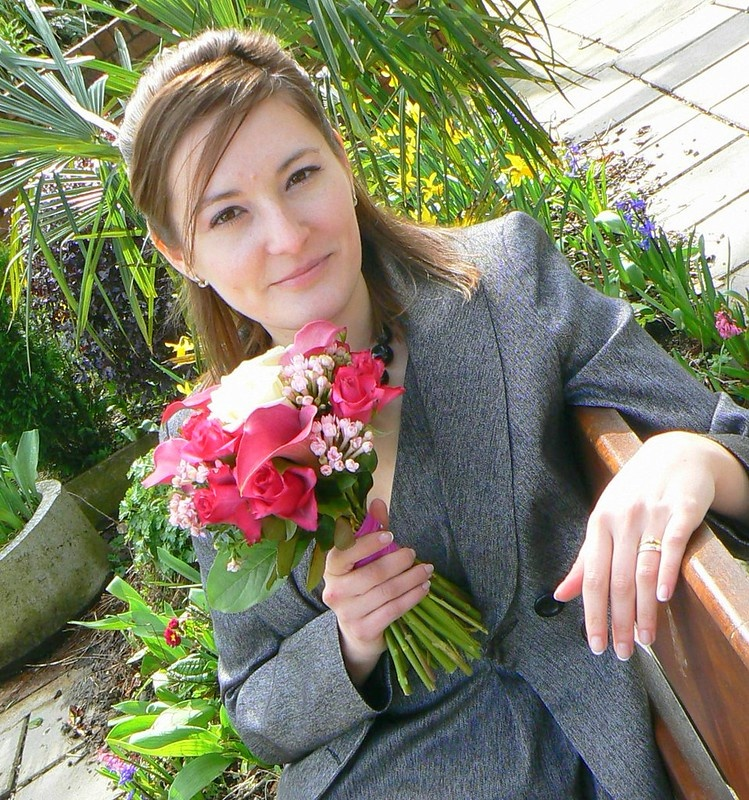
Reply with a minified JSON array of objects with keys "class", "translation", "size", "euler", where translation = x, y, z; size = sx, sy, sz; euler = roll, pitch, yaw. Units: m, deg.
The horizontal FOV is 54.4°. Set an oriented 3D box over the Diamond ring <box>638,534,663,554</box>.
[{"class":"Diamond ring","translation":[0.326,0.167,0.850],"size":[0.018,0.011,0.020],"euler":[-12,26,6]}]
